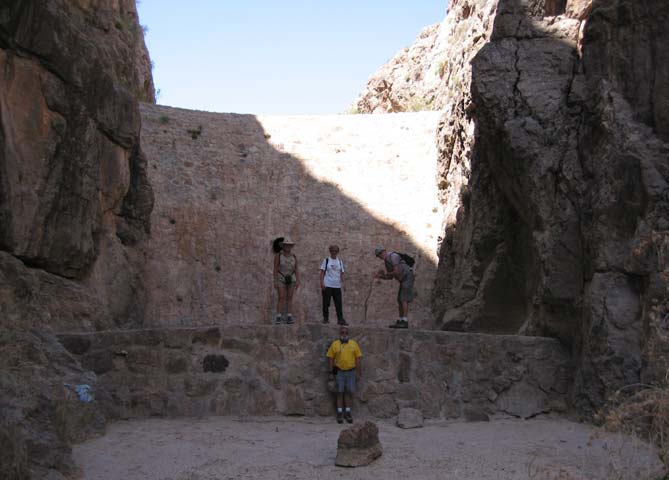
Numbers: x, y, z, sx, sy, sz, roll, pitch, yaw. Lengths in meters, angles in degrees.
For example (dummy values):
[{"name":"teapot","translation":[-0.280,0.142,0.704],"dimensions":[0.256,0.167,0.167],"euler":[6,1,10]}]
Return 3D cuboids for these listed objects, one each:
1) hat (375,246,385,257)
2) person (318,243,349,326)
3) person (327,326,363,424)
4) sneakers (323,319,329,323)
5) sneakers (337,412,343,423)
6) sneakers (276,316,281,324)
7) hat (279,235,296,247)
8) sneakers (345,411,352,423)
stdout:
[{"name":"hat","translation":[0.819,0.207,18.213],"dimensions":[0.142,0.147,0.155],"euler":[-17,-4,-38]},{"name":"person","translation":[-0.007,0.744,17.705],"dimensions":[0.383,1.398,0.997],"euler":[0,-6,0]},{"name":"person","translation":[0.149,2.101,16.316],"dimensions":[0.500,1.466,0.179],"euler":[0,-6,-1]},{"name":"sneakers","translation":[-0.134,1.380,17.729],"dimensions":[0.085,0.042,0.130],"euler":[0,-3,2]},{"name":"sneakers","translation":[0.098,2.752,16.190],"dimensions":[0.101,0.158,0.086],"euler":[-1,-6,4]},{"name":"sneakers","translation":[-0.915,1.346,17.460],"dimensions":[0.079,0.165,0.085],"euler":[0,3,6]},{"name":"hat","translation":[-0.874,0.031,19.417],"dimensions":[0.216,0.132,0.336],"euler":[0,-6,1]},{"name":"sneakers","translation":[0.256,2.751,16.250],"dimensions":[0.122,0.178,0.218],"euler":[-3,-7,25]}]
